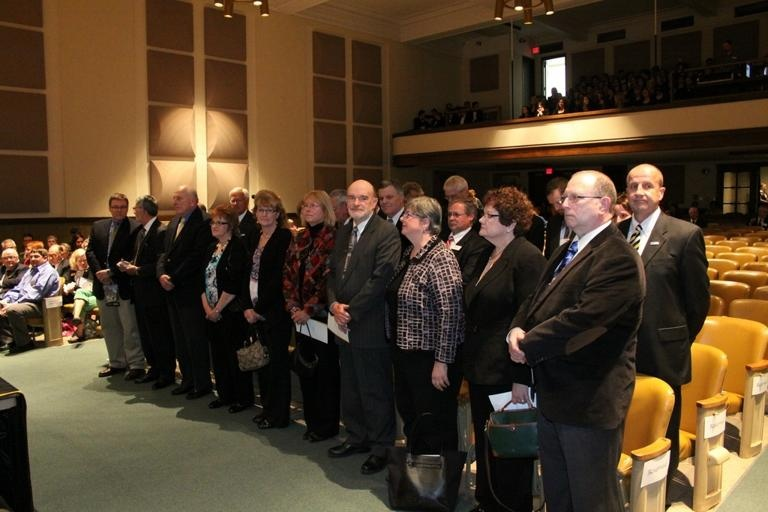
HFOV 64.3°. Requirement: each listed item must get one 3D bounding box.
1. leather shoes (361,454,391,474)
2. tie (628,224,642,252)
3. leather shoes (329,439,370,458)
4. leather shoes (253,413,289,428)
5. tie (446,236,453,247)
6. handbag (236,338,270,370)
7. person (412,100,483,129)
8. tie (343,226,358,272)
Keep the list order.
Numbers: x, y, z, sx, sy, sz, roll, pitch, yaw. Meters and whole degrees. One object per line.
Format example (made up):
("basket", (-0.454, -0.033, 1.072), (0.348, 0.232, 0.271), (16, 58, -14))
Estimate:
("leather shoes", (-0.087, 1.639, 4.828), (0.104, 0.072, 0.211), (-5, -9, 32))
("tie", (1.791, -0.139, 4.349), (0.075, 0.170, 0.181), (3, 14, 19))
("leather shoes", (-0.303, 1.605, 5.123), (0.351, 0.143, 0.130), (5, -10, -14))
("leather shoes", (-1.046, 1.509, 5.568), (0.237, 0.091, 0.136), (6, -4, 0))
("tie", (0.568, -0.129, 5.297), (0.039, 0.090, 0.089), (6, -2, 6))
("handbag", (-1.181, 0.887, 5.520), (0.263, 0.276, 0.119), (-14, 4, 14))
("person", (1.778, -3.559, 15.673), (1.424, 0.485, 1.077), (-8, 9, -42))
("tie", (-0.270, -0.073, 4.941), (0.110, 0.345, 0.238), (2, 13, 15))
